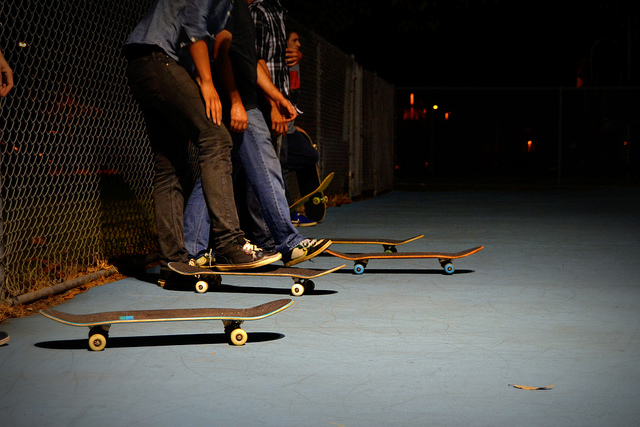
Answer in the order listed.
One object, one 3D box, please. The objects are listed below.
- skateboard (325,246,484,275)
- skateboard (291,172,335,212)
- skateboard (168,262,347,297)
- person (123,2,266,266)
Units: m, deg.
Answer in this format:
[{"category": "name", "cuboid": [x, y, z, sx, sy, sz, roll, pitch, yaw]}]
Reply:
[{"category": "skateboard", "cuboid": [0.751, 0.426, 5.050, 1.031, 0.162, 0.239, -1, 3, 8]}, {"category": "skateboard", "cuboid": [-0.075, -0.240, 7.100, 0.237, 0.171, 1.040, -18, -7, -40]}, {"category": "skateboard", "cuboid": [-0.313, 0.433, 4.153, 1.698, 0.266, 0.421, 1, -1, 4]}, {"category": "person", "cuboid": [-0.954, -0.560, 4.191, 0.933, 1.913, 0.464, 2, 9, 20]}]
